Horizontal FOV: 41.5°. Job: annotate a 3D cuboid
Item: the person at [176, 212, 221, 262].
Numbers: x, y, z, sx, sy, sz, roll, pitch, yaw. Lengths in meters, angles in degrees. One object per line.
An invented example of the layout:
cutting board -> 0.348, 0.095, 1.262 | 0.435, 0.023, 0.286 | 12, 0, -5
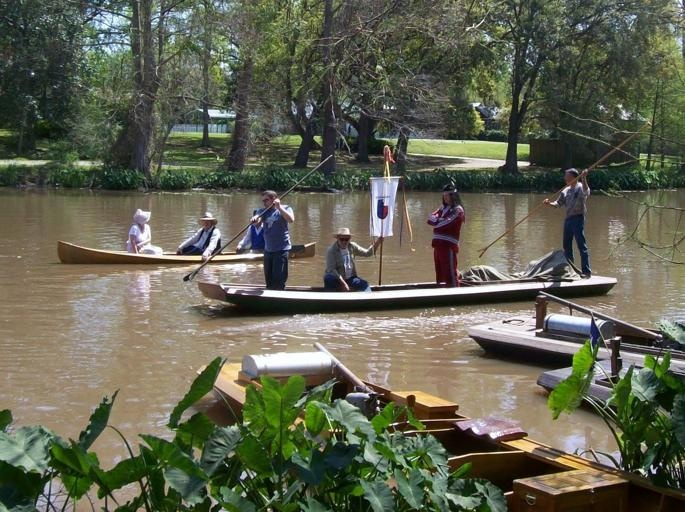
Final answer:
person -> -3.203, -0.403, 20.151 | 0.987, 0.987, 0.767 | 31, 31, 34

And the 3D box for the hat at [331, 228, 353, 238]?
hat -> -0.005, -0.465, 18.496 | 0.507, 0.167, 0.556 | 1, -3, -5

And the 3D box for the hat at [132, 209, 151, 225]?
hat -> -4.025, -0.767, 18.218 | 0.269, 0.376, 1.058 | 0, 9, -10
